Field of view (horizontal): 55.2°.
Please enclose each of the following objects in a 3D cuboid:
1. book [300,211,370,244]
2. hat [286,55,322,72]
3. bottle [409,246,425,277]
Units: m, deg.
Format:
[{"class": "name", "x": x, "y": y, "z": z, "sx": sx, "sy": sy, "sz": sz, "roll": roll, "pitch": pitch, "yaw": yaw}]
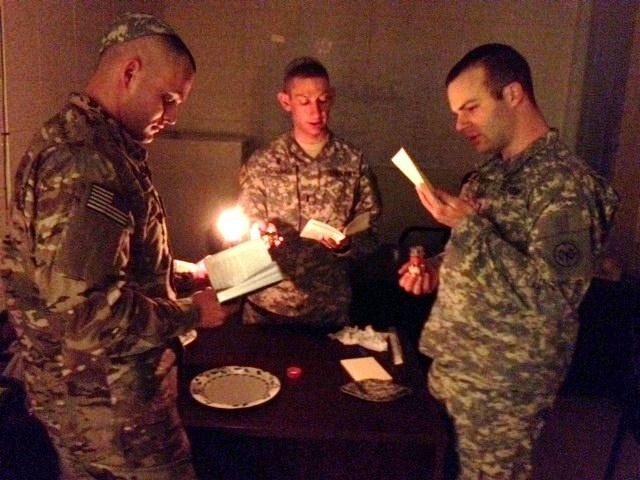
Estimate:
[{"class": "book", "x": 0.071, "y": -0.060, "z": 3.042, "sx": 0.240, "sy": 0.097, "sz": 0.186, "roll": 12, "pitch": 0, "yaw": -10}, {"class": "hat", "x": -0.094, "y": -1.004, "z": 3.496, "sx": 0.182, "sy": 0.098, "sz": 0.197, "roll": -6, "pitch": 10, "yaw": -20}, {"class": "bottle", "x": 0.434, "y": 0.086, "z": 2.734, "sx": 0.077, "sy": 0.113, "sz": 0.047, "roll": 3, "pitch": -3, "yaw": 2}]
